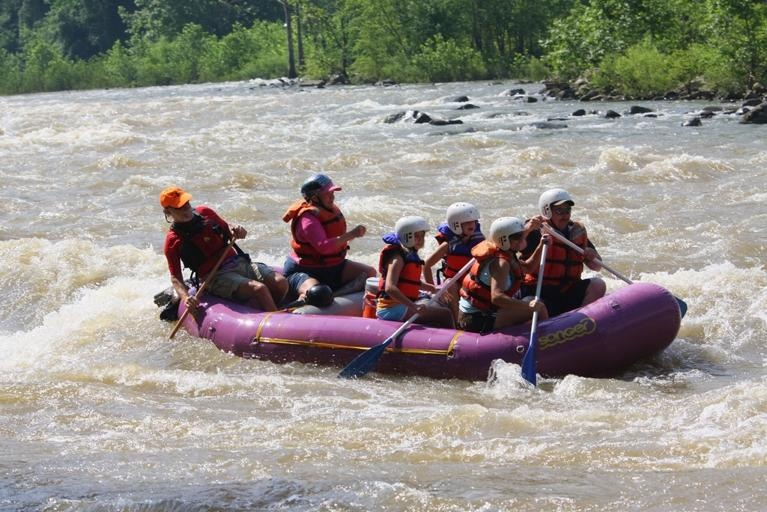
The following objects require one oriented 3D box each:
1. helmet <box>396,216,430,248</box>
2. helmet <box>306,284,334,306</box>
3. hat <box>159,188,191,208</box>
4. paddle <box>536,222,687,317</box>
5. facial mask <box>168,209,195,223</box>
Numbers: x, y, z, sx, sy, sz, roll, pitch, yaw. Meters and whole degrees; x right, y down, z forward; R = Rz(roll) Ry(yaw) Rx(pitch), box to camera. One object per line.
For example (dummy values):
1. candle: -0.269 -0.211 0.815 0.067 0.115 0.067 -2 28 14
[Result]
1. helmet: 0.458 -0.417 19.253 0.706 0.403 0.449 0 5 2
2. helmet: -1.045 0.695 20.067 0.515 0.276 0.365 9 -24 -22
3. hat: -3.593 -0.932 20.169 0.642 0.232 0.391 -8 15 4
4. paddle: 3.924 0.296 20.384 2.522 0.414 0.179 26 7 -1
5. facial mask: -3.456 -0.729 20.249 0.503 0.355 0.310 -1 12 -4
